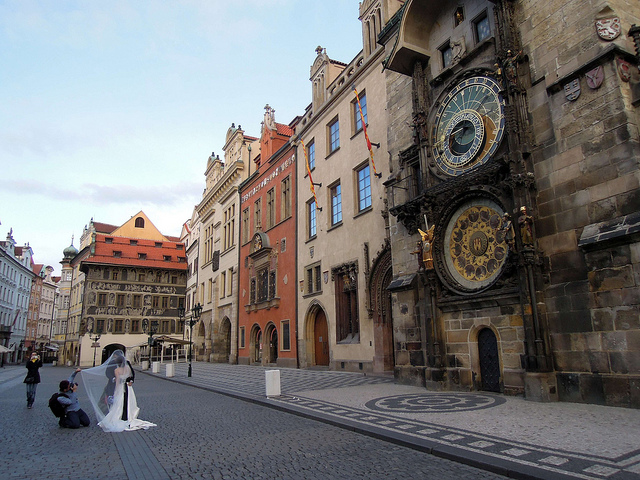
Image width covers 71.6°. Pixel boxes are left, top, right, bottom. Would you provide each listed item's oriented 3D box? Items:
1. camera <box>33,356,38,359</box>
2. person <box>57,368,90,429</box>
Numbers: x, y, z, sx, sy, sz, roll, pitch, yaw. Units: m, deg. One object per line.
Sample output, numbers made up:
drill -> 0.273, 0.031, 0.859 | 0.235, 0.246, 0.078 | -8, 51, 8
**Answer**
camera -> -10.073, 4.174, 15.806 | 0.110, 0.123, 0.030 | 5, -2, -2
person -> -6.514, 4.210, 11.740 | 0.616, 1.459, 0.556 | -8, 0, 37
